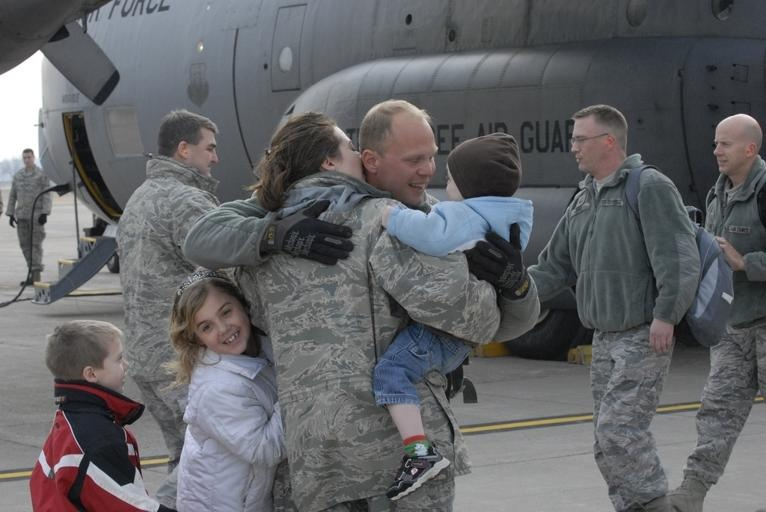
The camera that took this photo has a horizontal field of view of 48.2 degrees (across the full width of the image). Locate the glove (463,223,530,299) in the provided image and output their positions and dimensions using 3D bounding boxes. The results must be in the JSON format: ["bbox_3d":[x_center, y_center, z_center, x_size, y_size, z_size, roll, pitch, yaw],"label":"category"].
[{"bbox_3d":[0.582,0.053,4.217,0.195,0.307,0.355,2,-9,39],"label":"glove"}]

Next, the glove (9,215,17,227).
[{"bbox_3d":[-8.991,-0.842,20.831,0.189,0.127,0.492,27,6,-39],"label":"glove"}]
